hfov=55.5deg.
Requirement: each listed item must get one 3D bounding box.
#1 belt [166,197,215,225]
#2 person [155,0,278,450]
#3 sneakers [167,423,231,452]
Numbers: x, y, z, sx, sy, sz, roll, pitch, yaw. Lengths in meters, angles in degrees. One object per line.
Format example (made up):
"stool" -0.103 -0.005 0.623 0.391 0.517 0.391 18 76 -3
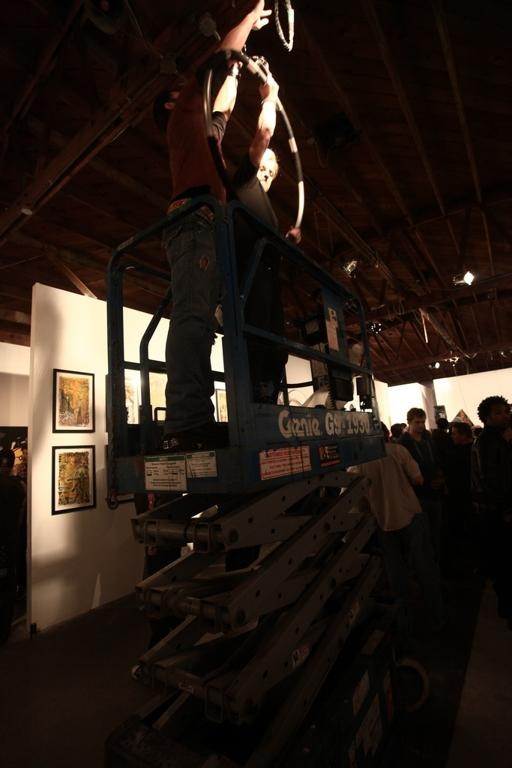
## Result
"belt" -0.295 -0.758 2.131 0.120 0.038 0.133 -7 -18 31
"person" -0.225 -0.913 2.283 0.462 2.362 0.786 -3 -4 6
"sneakers" -0.223 0.189 1.938 0.125 0.071 0.183 -7 -5 38
